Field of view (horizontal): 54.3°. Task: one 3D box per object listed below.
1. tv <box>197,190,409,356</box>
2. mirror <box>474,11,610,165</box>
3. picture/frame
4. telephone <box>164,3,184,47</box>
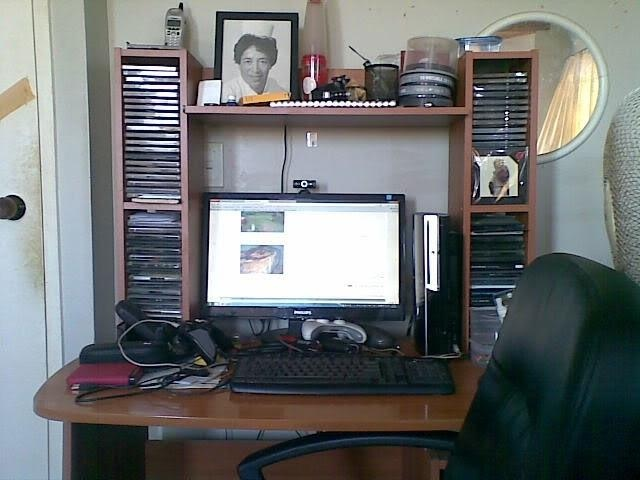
[{"bbox_3d":[-0.061,0.073,2.155,0.714,0.457,0.074,0,4,12],"label":"tv"},{"bbox_3d":[0.774,-0.543,2.167,0.573,0.528,0.130,-10,10,22],"label":"mirror"},{"bbox_3d":[-0.229,-0.629,2.165,0.378,0.395,0.015,1,-1,0],"label":"picture/frame"},{"bbox_3d":[-0.497,-0.711,2.092,0.063,0.152,0.131,-1,6,-3],"label":"telephone"}]
